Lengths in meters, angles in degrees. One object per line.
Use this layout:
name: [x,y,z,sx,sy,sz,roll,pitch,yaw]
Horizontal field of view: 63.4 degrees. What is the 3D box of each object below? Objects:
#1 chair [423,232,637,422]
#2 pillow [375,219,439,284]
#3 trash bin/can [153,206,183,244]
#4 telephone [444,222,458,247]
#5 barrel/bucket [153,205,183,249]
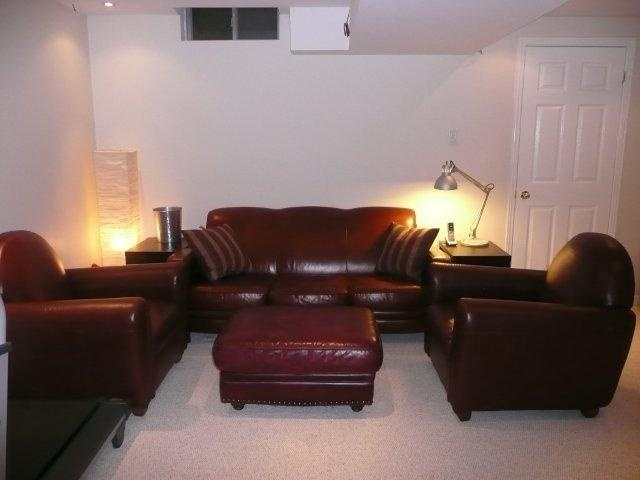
chair: [1.359,0.530,3.723,1.348,1.341,1.071,0,15,5]
pillow: [0.718,0.114,4.215,0.138,0.446,0.459,23,-8,-34]
trash bin/can: [-1.301,-0.136,4.642,0.306,0.349,0.325,-1,6,-13]
telephone: [1.186,-0.048,4.721,0.088,0.061,0.228,1,26,8]
barrel/bucket: [-1.325,-0.110,4.559,0.346,0.418,0.350,0,5,0]
